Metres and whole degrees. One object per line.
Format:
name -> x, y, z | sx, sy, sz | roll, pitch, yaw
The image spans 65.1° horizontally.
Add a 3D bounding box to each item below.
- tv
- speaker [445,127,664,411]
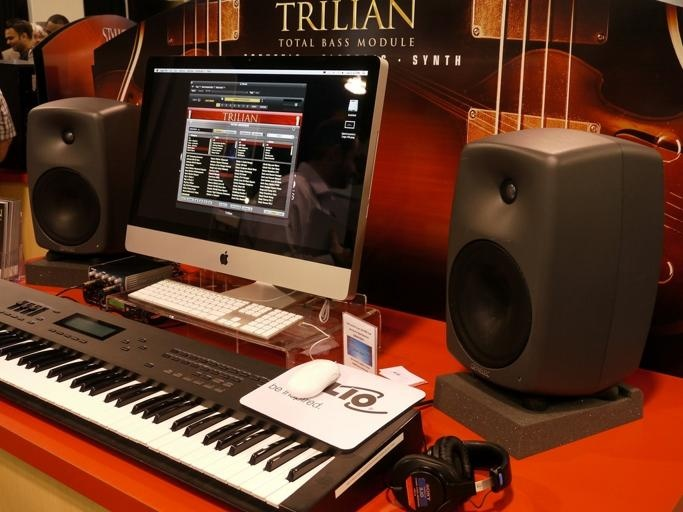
tv -> -0.220, -0.211, 1.260 | 0.720, 0.489, 0.214 | 12, 19, 33
speaker -> 0.372, 0.001, 0.990 | 0.298, 0.450, 0.304 | -3, 10, -19
